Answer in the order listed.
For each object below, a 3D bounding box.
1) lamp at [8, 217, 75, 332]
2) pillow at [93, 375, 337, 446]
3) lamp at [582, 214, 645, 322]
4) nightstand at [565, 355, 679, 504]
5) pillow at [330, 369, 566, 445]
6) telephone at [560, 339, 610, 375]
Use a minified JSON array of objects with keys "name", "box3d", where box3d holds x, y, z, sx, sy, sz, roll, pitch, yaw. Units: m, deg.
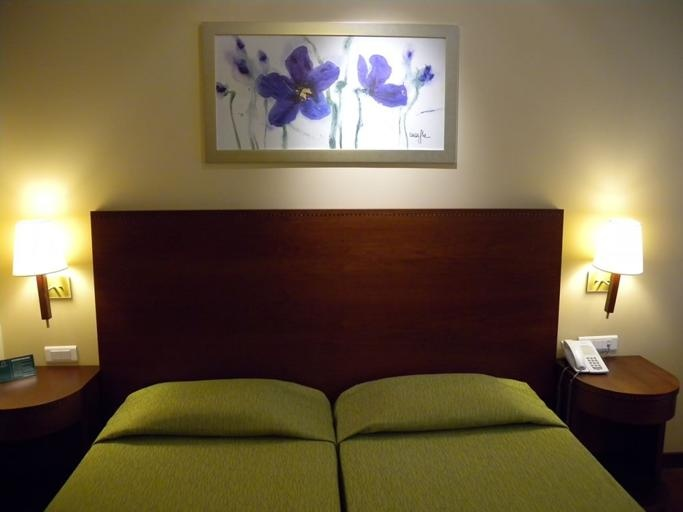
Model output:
[{"name":"lamp","box3d":[-1.633,0.110,2.862,0.256,0.609,0.214,-4,9,-21]},{"name":"pillow","box3d":[-0.649,0.783,2.685,0.767,0.095,0.316,-1,31,-2]},{"name":"lamp","box3d":[1.580,0.085,2.984,0.293,0.588,0.244,0,8,9]},{"name":"nightstand","box3d":[1.598,0.980,2.942,0.652,0.724,0.422,-3,8,-15]},{"name":"pillow","box3d":[0.492,0.767,2.679,0.739,0.094,0.363,-3,35,-2]},{"name":"telephone","box3d":[1.373,0.574,2.958,0.143,0.079,0.208,-5,29,-1]}]
